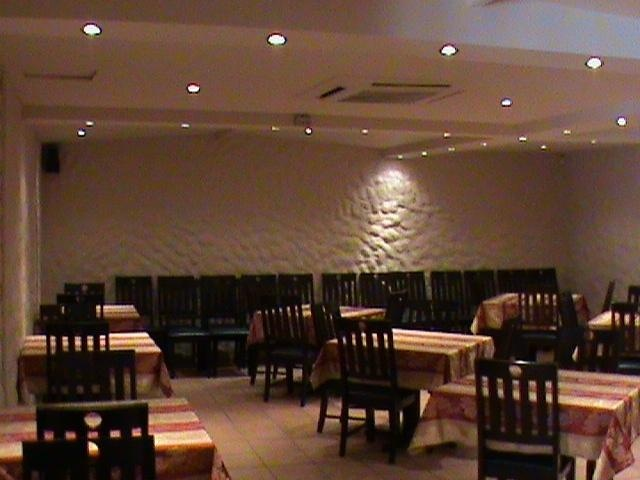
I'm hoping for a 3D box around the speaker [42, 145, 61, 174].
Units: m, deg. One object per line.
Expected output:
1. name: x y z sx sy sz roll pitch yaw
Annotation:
1. speaker: -3.830 -1.171 8.056 0.246 0.446 0.111 -1 1 -24
